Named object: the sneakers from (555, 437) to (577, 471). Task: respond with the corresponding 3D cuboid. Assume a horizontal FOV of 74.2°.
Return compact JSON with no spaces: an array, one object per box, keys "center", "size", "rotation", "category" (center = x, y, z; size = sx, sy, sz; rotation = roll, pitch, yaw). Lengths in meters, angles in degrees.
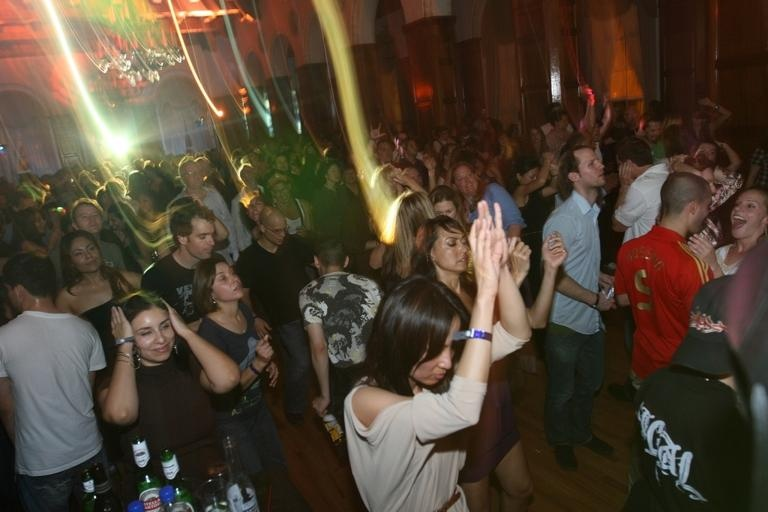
[{"center":[1.698,1.859,4.784],"size":[0.146,0.066,0.273],"rotation":[-26,60,-1],"category":"sneakers"}]
